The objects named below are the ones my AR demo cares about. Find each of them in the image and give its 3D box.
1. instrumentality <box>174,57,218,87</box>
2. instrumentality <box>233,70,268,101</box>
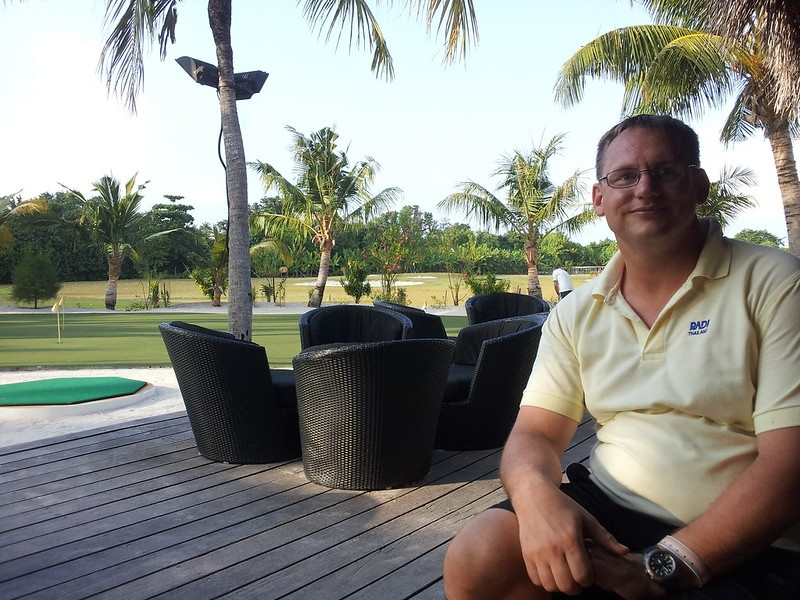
[{"bbox_3d":[-2.226,-2.488,6.096,0.417,0.132,0.249,23,-32,-34],"label":"instrumentality"},{"bbox_3d":[-1.687,-2.428,6.318,0.329,0.133,0.258,-17,27,-17],"label":"instrumentality"}]
